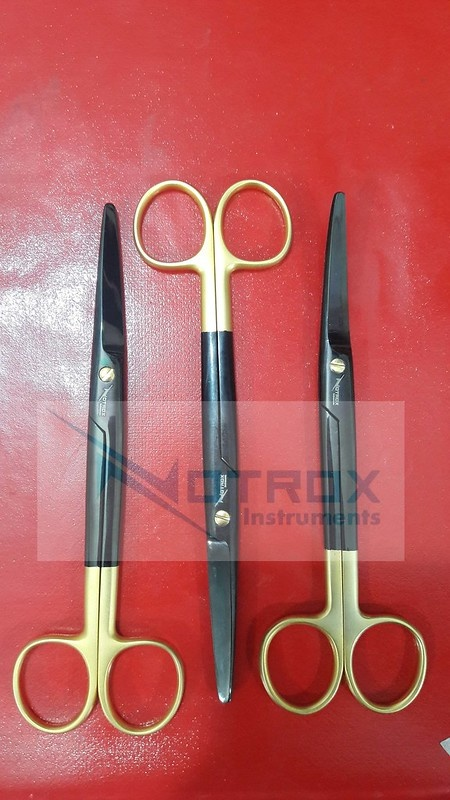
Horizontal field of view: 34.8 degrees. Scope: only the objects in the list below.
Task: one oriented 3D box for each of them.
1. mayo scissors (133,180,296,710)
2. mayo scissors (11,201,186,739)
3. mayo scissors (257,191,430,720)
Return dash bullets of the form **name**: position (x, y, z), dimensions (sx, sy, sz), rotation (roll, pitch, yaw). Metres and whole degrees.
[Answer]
- **mayo scissors**: position (-0.013, 0.076, 0.798), dimensions (0.185, 0.579, 0.045), rotation (0, -6, -3)
- **mayo scissors**: position (-0.135, 0.071, 0.728), dimensions (0.175, 0.541, 0.053), rotation (3, -5, -7)
- **mayo scissors**: position (0.125, 0.051, 0.778), dimensions (0.164, 0.517, 0.037), rotation (0, -7, -5)
